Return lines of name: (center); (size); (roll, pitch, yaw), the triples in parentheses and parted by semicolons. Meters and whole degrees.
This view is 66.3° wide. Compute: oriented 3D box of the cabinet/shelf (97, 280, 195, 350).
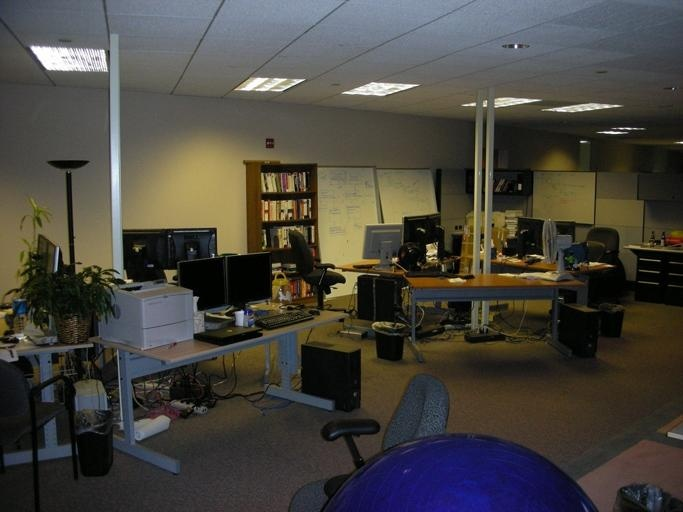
cabinet/shelf: (-1.427, 0.440, 3.986); (0.588, 0.359, 0.574); (3, 2, 29)

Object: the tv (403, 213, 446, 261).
tv: (1.079, -0.221, 6.823); (0.806, 0.542, 0.299); (-6, 13, -39)

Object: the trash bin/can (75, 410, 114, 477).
trash bin/can: (-1.754, 1.336, 3.731); (0.242, 0.409, 0.265); (-6, 15, -21)

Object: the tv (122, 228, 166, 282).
tv: (-1.931, -0.008, 5.103); (0.660, 0.502, 0.195); (0, 2, -8)

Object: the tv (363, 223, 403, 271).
tv: (0.555, -0.106, 6.710); (0.760, 0.575, 0.233); (-1, 22, -9)

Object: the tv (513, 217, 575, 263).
tv: (2.936, -0.102, 7.791); (0.664, 0.853, 1.140); (-1, 5, 1)

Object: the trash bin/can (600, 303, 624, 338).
trash bin/can: (3.431, 0.831, 6.651); (0.288, 0.360, 0.367); (6, 14, 25)

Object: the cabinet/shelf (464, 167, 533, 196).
cabinet/shelf: (3.272, -1.499, 10.765); (1.346, 0.559, 0.471); (0, 13, 1)

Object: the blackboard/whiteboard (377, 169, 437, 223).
blackboard/whiteboard: (1.112, -1.061, 9.249); (1.406, 1.110, 0.135); (-8, -5, -35)

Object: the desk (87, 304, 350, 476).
desk: (-0.856, 0.925, 3.980); (1.770, 0.733, 0.898); (-19, -17, 31)

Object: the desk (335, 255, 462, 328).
desk: (0.824, 0.540, 6.955); (1.297, 0.622, 1.287); (3, -2, 44)

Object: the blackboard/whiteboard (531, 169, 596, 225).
blackboard/whiteboard: (4.279, -1.112, 9.977); (0.056, 1.042, 1.448); (-11, 12, -36)

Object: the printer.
printer: (-1.498, 0.413, 4.012); (0.609, 0.360, 0.550); (6, 7, 24)

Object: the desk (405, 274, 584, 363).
desk: (1.626, 0.850, 6.358); (2.183, 0.759, 1.027); (-1, 12, -3)

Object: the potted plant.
potted plant: (-2.042, 0.341, 4.122); (0.787, 0.454, 0.703); (1, 4, 11)

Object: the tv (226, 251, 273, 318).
tv: (-0.810, 0.262, 4.586); (0.629, 0.511, 0.216); (-7, 12, -44)
